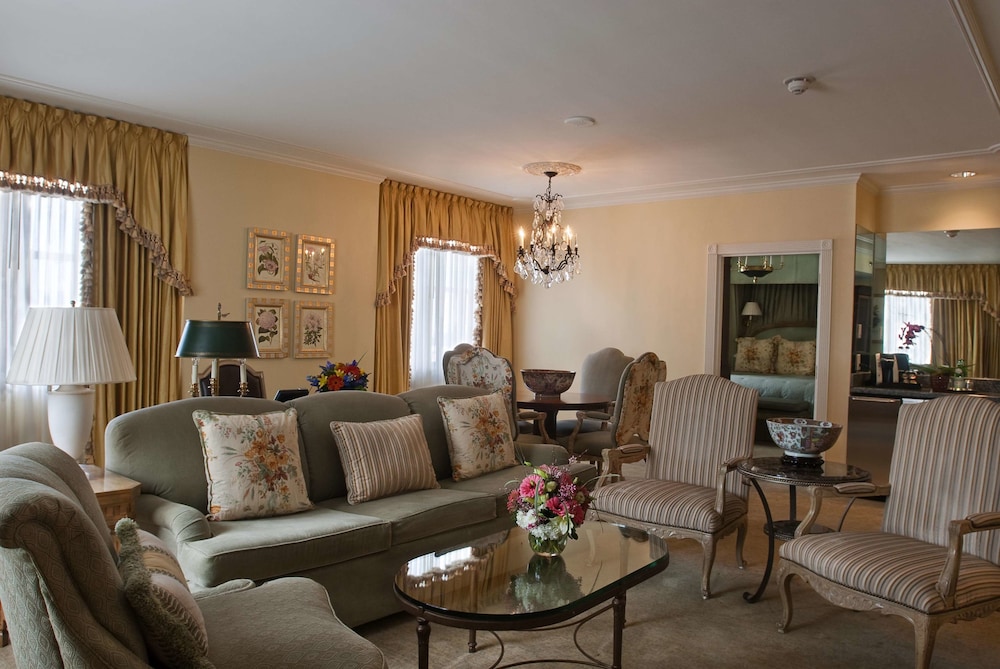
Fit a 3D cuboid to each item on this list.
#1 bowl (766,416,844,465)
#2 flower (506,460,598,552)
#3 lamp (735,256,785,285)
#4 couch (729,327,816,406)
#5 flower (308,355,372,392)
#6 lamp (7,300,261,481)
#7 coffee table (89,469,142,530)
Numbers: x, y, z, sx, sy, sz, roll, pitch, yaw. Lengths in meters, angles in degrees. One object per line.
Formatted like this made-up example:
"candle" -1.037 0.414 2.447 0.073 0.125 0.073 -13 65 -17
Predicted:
"bowl" 1.886 0.657 4.455 0.426 0.221 0.421 0 0 0
"flower" 0.230 0.888 3.823 0.437 0.429 0.407 -2 6 -26
"lamp" 3.484 -0.903 9.713 0.458 0.295 0.491 -2 -4 43
"couch" 3.426 0.405 8.870 0.678 0.794 0.979 4 -4 -37
"flower" -1.176 0.315 5.295 0.460 0.356 0.448 7 -8 -21
"lamp" -2.312 0.359 4.460 0.535 0.767 1.350 -6 -5 33
"coffee table" -2.055 0.863 3.884 0.405 0.195 0.292 4 3 36
